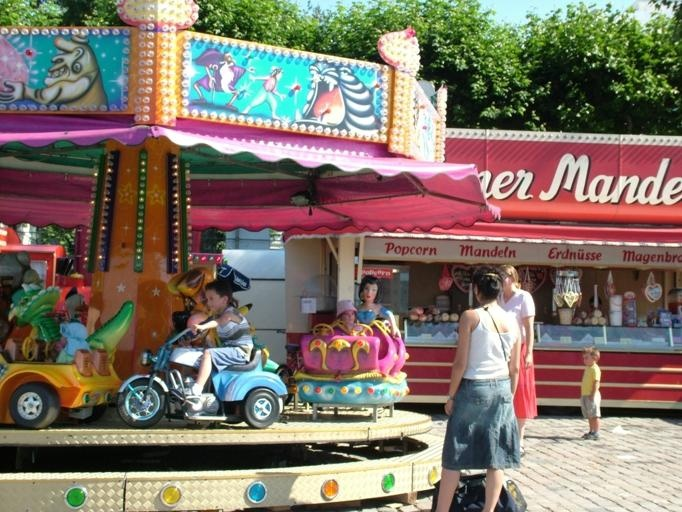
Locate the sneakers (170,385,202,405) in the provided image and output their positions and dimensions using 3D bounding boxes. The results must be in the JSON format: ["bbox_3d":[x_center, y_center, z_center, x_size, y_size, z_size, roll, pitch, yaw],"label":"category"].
[{"bbox_3d":[-1.692,1.527,8.978,0.353,0.189,0.095,3,1,-4],"label":"sneakers"}]

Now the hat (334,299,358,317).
[{"bbox_3d":[0.031,0.640,10.116,0.209,0.159,0.164,-4,-1,5],"label":"hat"}]

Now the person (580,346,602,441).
[{"bbox_3d":[3.800,2.090,12.547,0.284,1.194,0.422,3,1,16],"label":"person"}]

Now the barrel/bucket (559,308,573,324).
[{"bbox_3d":[4.100,1.106,15.077,0.251,0.204,0.252,0,1,0],"label":"barrel/bucket"}]

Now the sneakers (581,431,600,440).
[{"bbox_3d":[3.753,2.725,12.459,0.258,0.119,0.099,2,-2,12],"label":"sneakers"}]
